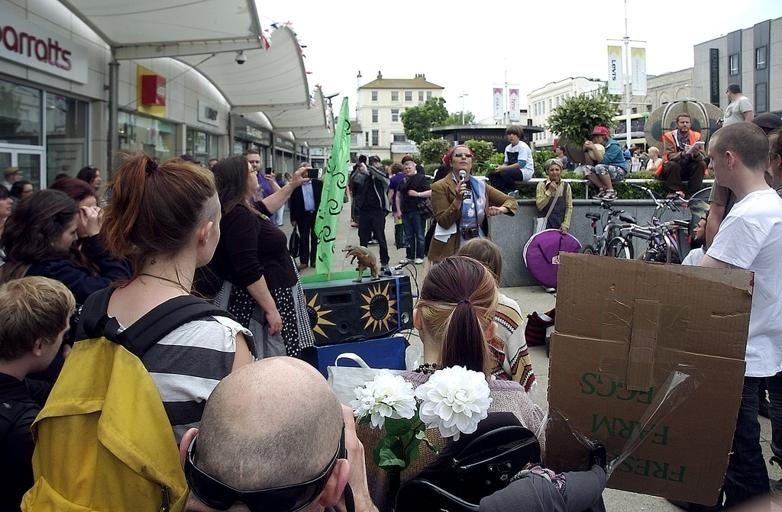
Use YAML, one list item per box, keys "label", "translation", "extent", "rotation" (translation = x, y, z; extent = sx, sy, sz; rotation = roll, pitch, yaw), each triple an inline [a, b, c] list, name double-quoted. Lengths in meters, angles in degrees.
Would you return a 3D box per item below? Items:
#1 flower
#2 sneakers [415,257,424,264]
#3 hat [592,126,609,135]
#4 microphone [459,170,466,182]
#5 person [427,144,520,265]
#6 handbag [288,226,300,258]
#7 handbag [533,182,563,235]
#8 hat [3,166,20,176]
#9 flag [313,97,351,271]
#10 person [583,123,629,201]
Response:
- label: "flower"
  translation: [0.145, 0.699, 2.966]
  extent: [0.501, 0.508, 0.569]
  rotation: [-3, -25, 6]
- label: "sneakers"
  translation: [0.550, 0.072, 12.784]
  extent: [0.091, 0.116, 0.260]
  rotation: [-5, -4, 0]
- label: "hat"
  translation: [3.889, -2.360, 12.138]
  extent: [0.199, 0.159, 0.266]
  rotation: [-4, 8, -25]
- label: "microphone"
  translation: [0.748, -0.854, 6.809]
  extent: [0.077, 0.110, 0.081]
  rotation: [2, 9, 16]
- label: "person"
  translation: [0.924, -0.325, 7.162]
  extent: [0.866, 1.804, 0.773]
  rotation: [-5, 20, 0]
- label: "handbag"
  translation: [-1.870, -0.284, 12.629]
  extent: [0.174, 0.305, 0.684]
  rotation: [3, -20, -4]
- label: "handbag"
  translation: [2.468, -0.685, 10.328]
  extent: [0.145, 1.054, 0.258]
  rotation: [17, 11, -39]
- label: "hat"
  translation: [-5.689, -1.286, 9.737]
  extent: [0.271, 0.090, 0.211]
  rotation: [-5, 8, -15]
- label: "flag"
  translation: [-0.553, -0.646, 6.203]
  extent: [0.326, 1.728, 0.981]
  rotation: [-1, 9, -6]
- label: "person"
  translation: [3.785, -1.666, 11.527]
  extent: [0.784, 1.349, 0.525]
  rotation: [2, -8, -16]
